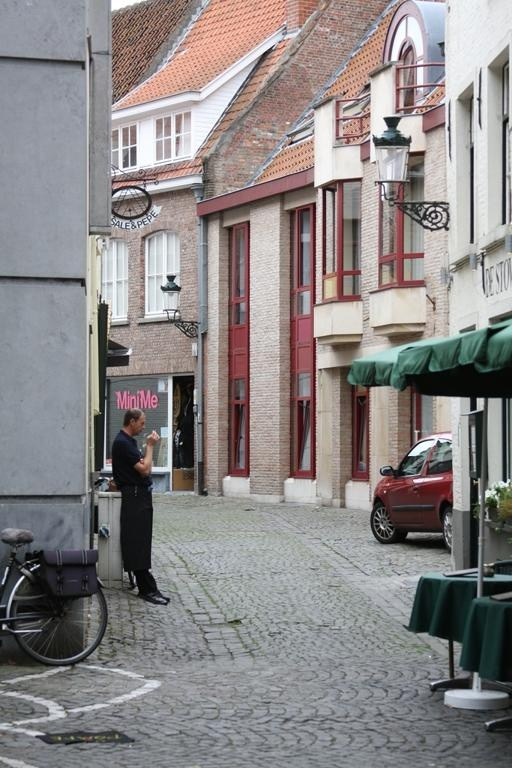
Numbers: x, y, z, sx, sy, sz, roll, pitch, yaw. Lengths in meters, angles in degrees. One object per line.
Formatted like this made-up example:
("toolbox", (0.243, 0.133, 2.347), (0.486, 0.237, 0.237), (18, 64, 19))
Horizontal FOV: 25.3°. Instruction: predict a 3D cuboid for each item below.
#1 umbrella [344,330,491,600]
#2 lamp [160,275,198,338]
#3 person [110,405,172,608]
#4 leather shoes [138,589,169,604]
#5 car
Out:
("umbrella", (0.964, 0.461, 6.915), (1.257, 1.539, 1.380), (-3, -1, 22))
("lamp", (-1.947, -1.977, 29.052), (0.900, 1.702, 1.495), (1, 2, -5))
("person", (-1.079, 1.152, 10.629), (0.519, 1.786, 0.853), (1, 2, -7))
("leather shoes", (-0.931, 1.953, 10.406), (0.271, 0.120, 0.101), (-1, 4, 31))
("car", (2.181, 1.485, 15.716), (0.931, 1.005, 1.506), (1, 0, -27))
